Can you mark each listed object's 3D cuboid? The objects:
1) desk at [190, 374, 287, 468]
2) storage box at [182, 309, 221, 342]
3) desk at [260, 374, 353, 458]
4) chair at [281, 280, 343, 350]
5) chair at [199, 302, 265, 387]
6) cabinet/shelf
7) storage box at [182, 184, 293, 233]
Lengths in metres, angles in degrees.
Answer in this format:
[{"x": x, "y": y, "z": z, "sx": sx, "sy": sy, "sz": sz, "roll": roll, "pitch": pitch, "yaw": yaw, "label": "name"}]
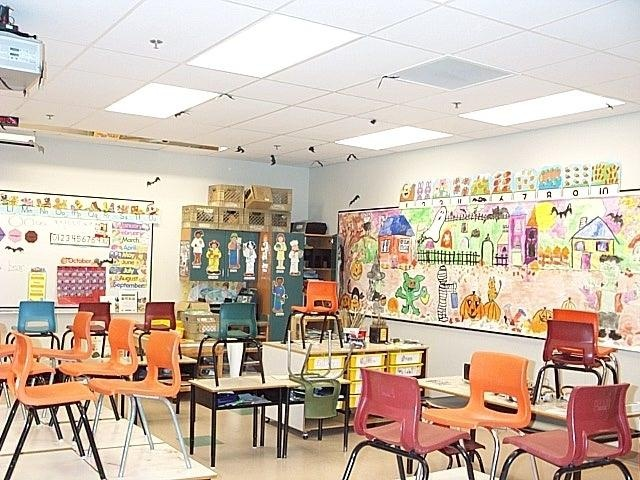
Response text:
[{"x": -0.832, "y": 1.711, "z": 5.233, "sx": 1.167, "sy": 0.955, "sz": 0.830, "roll": 2, "pitch": -2, "yaw": -29, "label": "desk"}, {"x": -1.880, "y": 1.323, "z": 8.048, "sx": 0.670, "sy": 0.394, "sz": 0.656, "roll": 1, "pitch": 1, "yaw": -38, "label": "storage box"}, {"x": -0.031, "y": 1.822, "z": 5.555, "sx": 1.055, "sy": 0.921, "sz": 0.791, "roll": 0, "pitch": 3, "yaw": -21, "label": "desk"}, {"x": -0.116, "y": 1.106, "z": 7.450, "sx": 0.890, "sy": 0.894, "sz": 0.872, "roll": 1, "pitch": -9, "yaw": -3, "label": "chair"}, {"x": -1.049, "y": 1.207, "z": 5.833, "sx": 0.777, "sy": 0.886, "sz": 0.782, "roll": 0, "pitch": -8, "yaw": -5, "label": "chair"}, {"x": -1.158, "y": 0.794, "z": 8.541, "sx": 2.124, "sy": 1.845, "sz": 0.666, "roll": 2, "pitch": -5, "yaw": -27, "label": "cabinet/shelf"}, {"x": -1.461, "y": -0.596, "z": 9.359, "sx": 1.959, "sy": 0.835, "sz": 0.425, "roll": 2, "pitch": -3, "yaw": -18, "label": "storage box"}]
